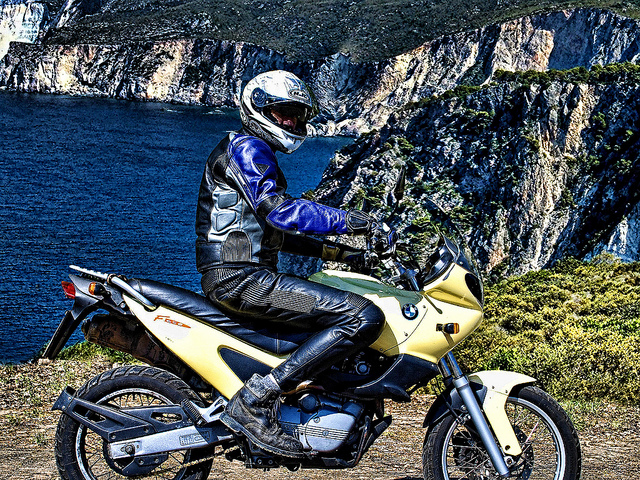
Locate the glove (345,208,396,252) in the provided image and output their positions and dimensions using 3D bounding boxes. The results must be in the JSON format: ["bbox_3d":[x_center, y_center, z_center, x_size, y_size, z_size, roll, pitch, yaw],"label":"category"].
[{"bbox_3d":[0.619,-0.080,13.766,0.679,0.435,0.285,33,-16,2],"label":"glove"}]
